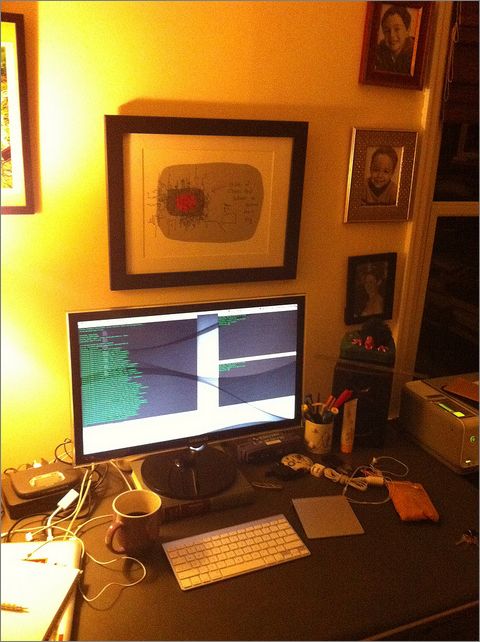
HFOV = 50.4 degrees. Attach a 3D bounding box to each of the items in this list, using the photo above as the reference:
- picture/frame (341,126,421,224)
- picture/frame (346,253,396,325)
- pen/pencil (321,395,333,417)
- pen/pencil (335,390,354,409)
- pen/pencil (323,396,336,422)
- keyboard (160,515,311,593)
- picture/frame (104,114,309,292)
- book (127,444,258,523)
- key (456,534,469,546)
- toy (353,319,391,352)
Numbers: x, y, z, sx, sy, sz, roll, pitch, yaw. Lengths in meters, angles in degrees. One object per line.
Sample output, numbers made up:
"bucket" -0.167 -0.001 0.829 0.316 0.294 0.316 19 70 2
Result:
"picture/frame" 0.391 -0.424 1.443 0.183 0.233 0.019 -3 18 -17
"picture/frame" 0.389 -0.105 1.540 0.187 0.230 0.018 -9 22 -25
"pen/pencil" 0.232 0.227 1.343 0.019 0.070 0.016 37 -20 -26
"pen/pencil" 0.279 0.210 1.354 0.020 0.028 0.083 -17 -28 -26
"pen/pencil" 0.233 0.237 1.337 0.021 0.080 0.022 16 0 -1
"keyboard" -0.001 0.447 0.989 0.260 0.013 0.138 -5 15 -24
"picture/frame" -0.070 -0.284 1.250 0.509 0.385 0.113 -7 7 -23
"book" -0.113 0.364 1.121 0.268 0.054 0.201 -7 22 -30
"key" 0.463 0.454 1.054 0.014 0.008 0.019 29 47 23
"toy" 0.368 0.044 1.406 0.109 0.082 0.074 -3 7 16
